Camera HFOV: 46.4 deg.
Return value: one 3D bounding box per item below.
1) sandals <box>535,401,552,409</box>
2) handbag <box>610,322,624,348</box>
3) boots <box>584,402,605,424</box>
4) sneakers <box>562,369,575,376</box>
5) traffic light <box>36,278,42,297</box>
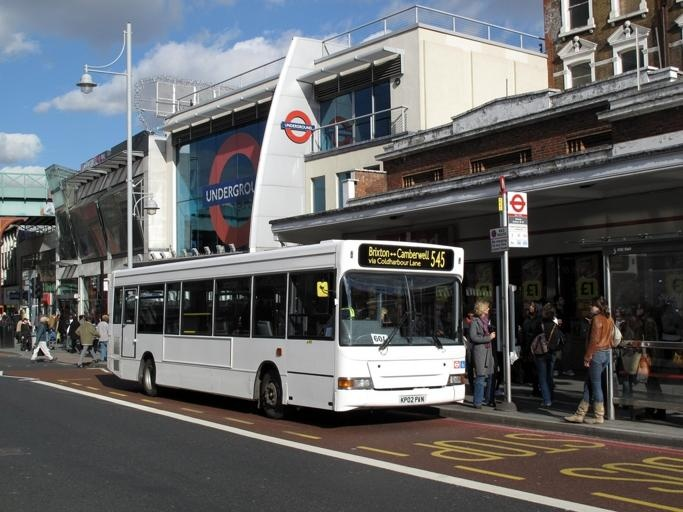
[{"bbox_3d":[4.094,3.106,16.490,0.120,0.176,0.378,4,-12,-23],"label":"sandals"},{"bbox_3d":[5.102,1.517,14.945,0.271,0.448,0.409,0,-2,6],"label":"handbag"},{"bbox_3d":[4.632,2.878,14.612,0.452,0.530,0.279,1,-2,18],"label":"boots"},{"bbox_3d":[6.193,3.225,21.990,0.103,0.165,0.329,2,-11,-17],"label":"sneakers"},{"bbox_3d":[-17.301,1.804,45.461,0.251,1.250,1.190,-1,0,-14],"label":"traffic light"}]
